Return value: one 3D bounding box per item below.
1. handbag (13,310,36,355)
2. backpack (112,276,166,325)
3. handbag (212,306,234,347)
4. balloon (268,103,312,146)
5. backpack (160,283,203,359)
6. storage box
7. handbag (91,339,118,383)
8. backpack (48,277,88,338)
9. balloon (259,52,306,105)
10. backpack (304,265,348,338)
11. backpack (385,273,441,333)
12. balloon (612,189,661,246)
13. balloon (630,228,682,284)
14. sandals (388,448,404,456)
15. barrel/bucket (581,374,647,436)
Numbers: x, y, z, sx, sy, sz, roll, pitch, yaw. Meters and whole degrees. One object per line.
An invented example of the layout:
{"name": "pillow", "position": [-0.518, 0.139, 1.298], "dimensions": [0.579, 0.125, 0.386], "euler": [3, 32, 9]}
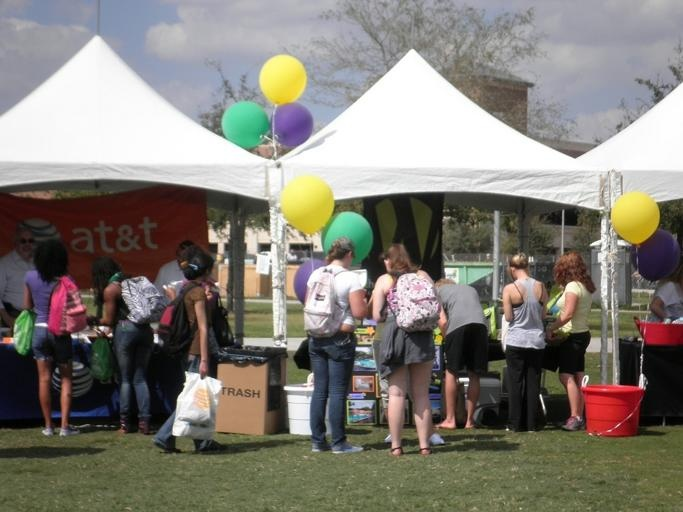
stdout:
{"name": "handbag", "position": [-3.702, 0.878, 16.207], "dimensions": [0.231, 0.506, 0.339], "euler": [0, -6, -18]}
{"name": "backpack", "position": [-2.342, 0.507, 16.308], "dimensions": [0.462, 0.534, 0.466], "euler": [13, 6, 29]}
{"name": "handbag", "position": [-1.373, 0.793, 16.032], "dimensions": [0.200, 0.490, 0.519], "euler": [-2, -6, 0]}
{"name": "balloon", "position": [-0.631, -1.719, 17.845], "dimensions": [0.516, 0.542, 0.569], "euler": [-3, -6, 4]}
{"name": "backpack", "position": [-1.796, 0.694, 15.760], "dimensions": [0.395, 0.831, 0.405], "euler": [7, 4, 0]}
{"name": "storage box", "position": [-1.049, 1.585, 16.551], "dimensions": [0.922, 1.084, 0.918], "euler": [1, 1, 12]}
{"name": "handbag", "position": [-2.805, 1.185, 16.376], "dimensions": [0.285, 0.495, 0.148], "euler": [0, -6, -16]}
{"name": "backpack", "position": [-3.189, 0.553, 16.114], "dimensions": [0.427, 0.716, 0.203], "euler": [-1, -6, -13]}
{"name": "balloon", "position": [-0.746, -2.262, 17.650], "dimensions": [0.566, 0.598, 0.543], "euler": [-2, -6, -3]}
{"name": "backpack", "position": [-0.185, 0.497, 15.491], "dimensions": [0.474, 0.808, 0.220], "euler": [-2, -6, -2]}
{"name": "backpack", "position": [0.795, 0.495, 15.397], "dimensions": [0.579, 0.672, 0.257], "euler": [-2, -6, 1]}
{"name": "balloon", "position": [3.514, -0.489, 16.655], "dimensions": [0.538, 0.570, 0.295], "euler": [-3, -6, 10]}
{"name": "balloon", "position": [3.868, -0.027, 17.211], "dimensions": [0.577, 0.714, 0.589], "euler": [8, 1, -7]}
{"name": "sandals", "position": [0.633, 2.192, 15.596], "dimensions": [0.171, 0.105, 0.151], "euler": [0, -7, -22]}
{"name": "barrel/bucket", "position": [3.157, 1.773, 16.509], "dimensions": [0.678, 0.588, 0.675], "euler": [4, 5, 0]}
